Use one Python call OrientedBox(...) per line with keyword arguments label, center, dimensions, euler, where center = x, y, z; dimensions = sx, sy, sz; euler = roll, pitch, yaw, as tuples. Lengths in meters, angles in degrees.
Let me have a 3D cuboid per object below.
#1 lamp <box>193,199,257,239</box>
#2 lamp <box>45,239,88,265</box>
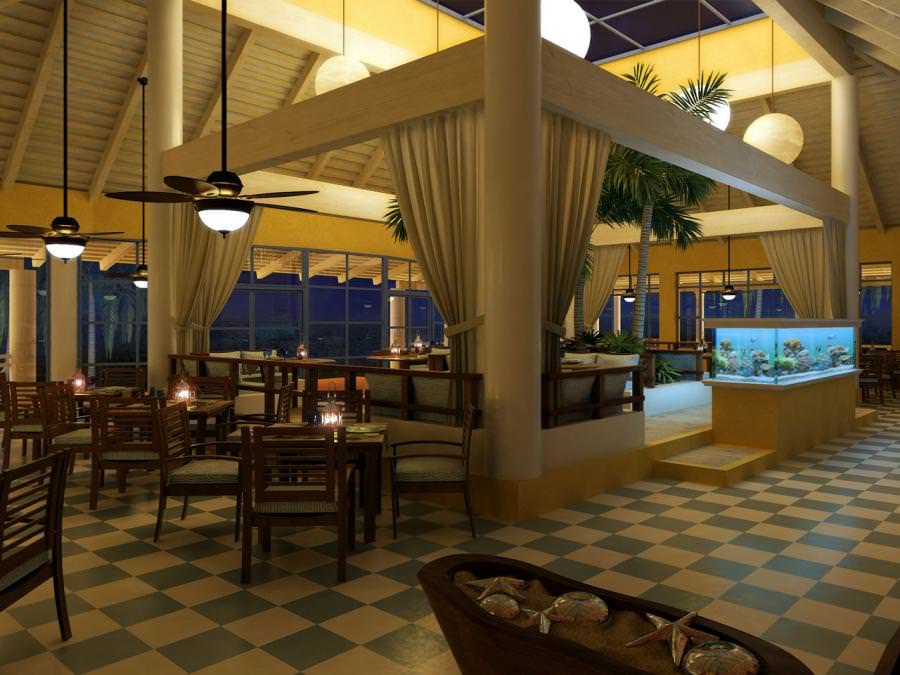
OrientedBox(label="lamp", center=(-1.600, -0.858, 4.555), dimensions=(0.284, 0.145, 0.269), euler=(-1, -1, -6))
OrientedBox(label="lamp", center=(-3.893, -0.899, 6.380), dimensions=(0.308, 0.167, 0.369), euler=(-5, 10, -36))
